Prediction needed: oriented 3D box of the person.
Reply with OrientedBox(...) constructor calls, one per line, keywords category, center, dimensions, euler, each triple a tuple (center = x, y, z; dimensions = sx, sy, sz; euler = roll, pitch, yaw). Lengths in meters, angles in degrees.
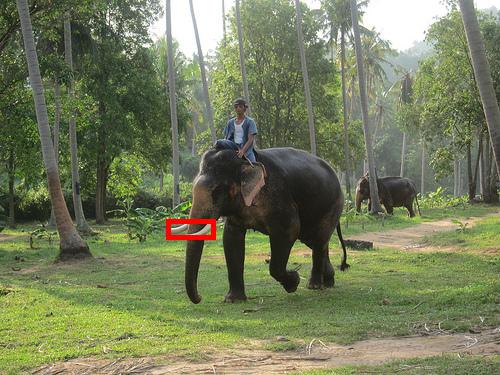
OrientedBox(category="person", center=(-0.286, -1.106, 12.354), dimensions=(0.802, 1.524, 0.845), euler=(0, -2, 2))
